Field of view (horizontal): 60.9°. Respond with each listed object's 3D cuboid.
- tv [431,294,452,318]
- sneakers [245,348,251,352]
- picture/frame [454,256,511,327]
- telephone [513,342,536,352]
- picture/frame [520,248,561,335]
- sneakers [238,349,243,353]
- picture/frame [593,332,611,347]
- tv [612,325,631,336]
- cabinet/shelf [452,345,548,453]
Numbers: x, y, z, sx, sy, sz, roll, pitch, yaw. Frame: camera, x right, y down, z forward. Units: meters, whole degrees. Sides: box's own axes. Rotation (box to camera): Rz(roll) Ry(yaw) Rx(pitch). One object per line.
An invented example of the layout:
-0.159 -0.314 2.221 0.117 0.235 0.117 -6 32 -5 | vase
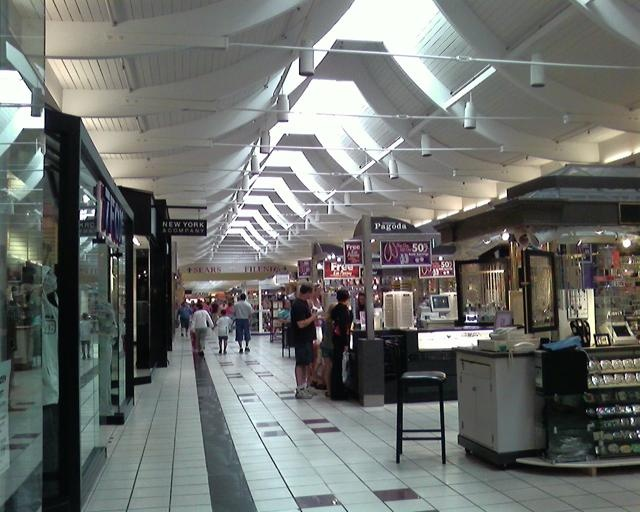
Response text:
2.593 1.101 11.767 0.498 0.549 0.285 1 -7 -10 | tv
-2.308 2.989 17.308 0.127 0.182 0.186 1 -11 -4 | sneakers
3.447 0.764 12.193 1.471 1.515 1.431 1 1 -24 | picture/frame
2.017 0.909 5.407 0.144 0.033 0.130 -1 6 5 | telephone
2.385 0.366 5.873 0.548 0.911 0.204 1 -5 -31 | picture/frame
-2.530 3.033 17.312 0.136 0.176 0.099 1 1 0 | sneakers
2.818 0.845 5.454 0.147 0.142 0.011 4 -26 10 | picture/frame
3.018 0.757 5.477 0.169 0.114 0.071 0 -4 -19 | tv
1.918 1.543 5.774 0.724 1.072 1.127 2 -9 -9 | cabinet/shelf
